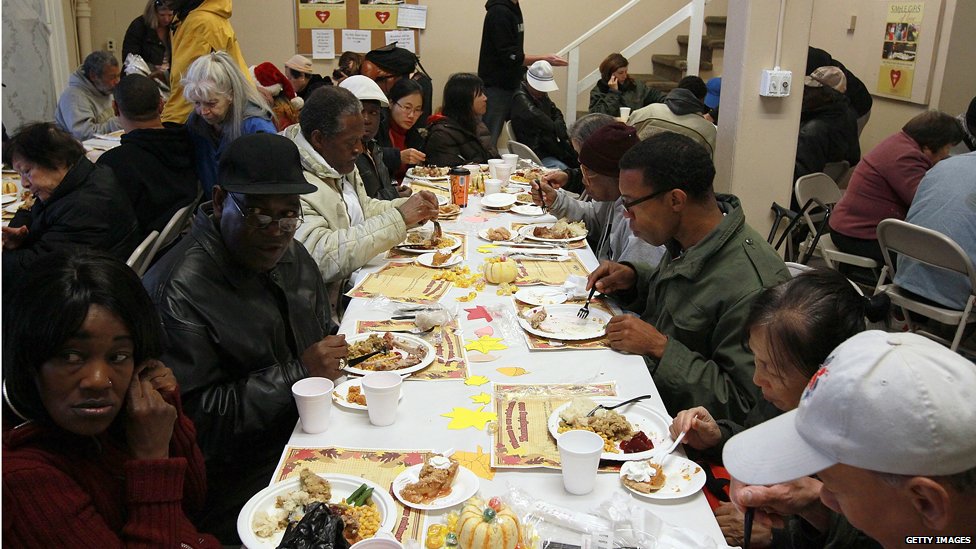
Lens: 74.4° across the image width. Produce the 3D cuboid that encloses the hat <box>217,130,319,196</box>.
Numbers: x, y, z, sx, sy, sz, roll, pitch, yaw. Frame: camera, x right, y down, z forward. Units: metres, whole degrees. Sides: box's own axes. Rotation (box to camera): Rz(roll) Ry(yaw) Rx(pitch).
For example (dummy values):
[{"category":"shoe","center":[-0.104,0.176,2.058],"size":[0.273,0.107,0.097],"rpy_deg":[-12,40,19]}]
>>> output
[{"category":"hat","center":[-1.035,-0.483,2.881],"size":[0.374,0.182,0.304],"rpy_deg":[5,8,40]}]

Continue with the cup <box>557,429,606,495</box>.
[{"category":"cup","center":[0.339,0.686,2.435],"size":[0.220,0.195,0.215],"rpy_deg":[0,12,0]}]

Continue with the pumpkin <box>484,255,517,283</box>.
[{"category":"pumpkin","center":[0.067,-0.038,3.654],"size":[0.166,0.139,0.157],"rpy_deg":[-1,6,0]}]

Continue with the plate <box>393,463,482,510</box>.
[{"category":"plate","center":[-0.195,0.780,2.359],"size":[0.323,0.094,0.169],"rpy_deg":[-2,13,-6]}]

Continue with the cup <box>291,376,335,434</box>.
[{"category":"cup","center":[-0.693,0.521,2.657],"size":[0.209,0.195,0.212],"rpy_deg":[-1,9,0]}]

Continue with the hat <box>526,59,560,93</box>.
[{"category":"hat","center":[0.609,-2.362,7.746],"size":[0.366,0.222,0.433],"rpy_deg":[-17,41,-28]}]

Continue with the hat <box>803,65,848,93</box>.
[{"category":"hat","center":[3.532,-2.014,6.599],"size":[0.508,0.247,0.324],"rpy_deg":[8,15,5]}]

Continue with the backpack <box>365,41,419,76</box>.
[{"category":"backpack","center":[-1.027,-2.263,6.808],"size":[0.476,0.248,0.377],"rpy_deg":[13,28,19]}]

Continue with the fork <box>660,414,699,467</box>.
[{"category":"fork","center":[0.757,0.654,2.542],"size":[0.039,0.039,0.270],"rpy_deg":[28,65,32]}]

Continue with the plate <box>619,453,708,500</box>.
[{"category":"plate","center":[0.655,0.765,2.397],"size":[0.300,0.099,0.166],"rpy_deg":[-5,14,-19]}]

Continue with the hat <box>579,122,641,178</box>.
[{"category":"hat","center":[0.789,-0.845,4.205],"size":[0.408,0.289,0.385],"rpy_deg":[10,30,23]}]
